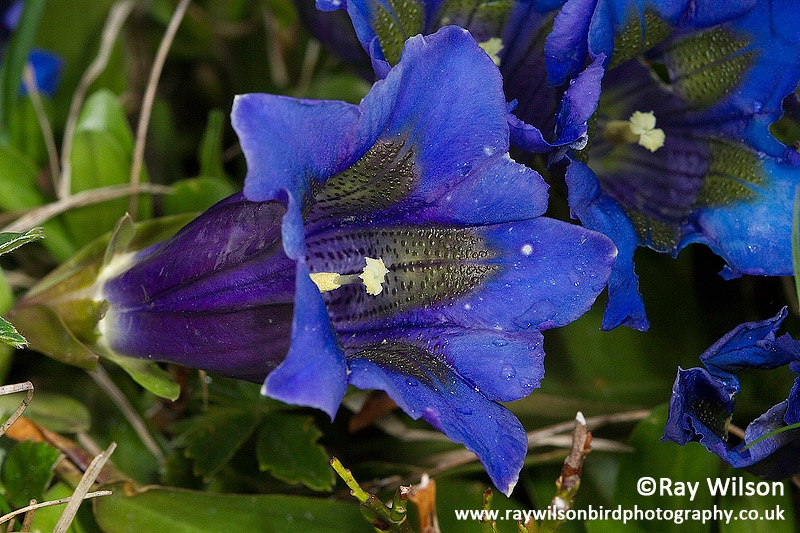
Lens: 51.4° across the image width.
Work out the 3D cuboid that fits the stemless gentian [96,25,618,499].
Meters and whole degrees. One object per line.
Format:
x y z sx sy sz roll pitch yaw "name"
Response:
-0.076 -0.040 0.863 0.522 0.327 0.378 21 61 25 "stemless gentian"
